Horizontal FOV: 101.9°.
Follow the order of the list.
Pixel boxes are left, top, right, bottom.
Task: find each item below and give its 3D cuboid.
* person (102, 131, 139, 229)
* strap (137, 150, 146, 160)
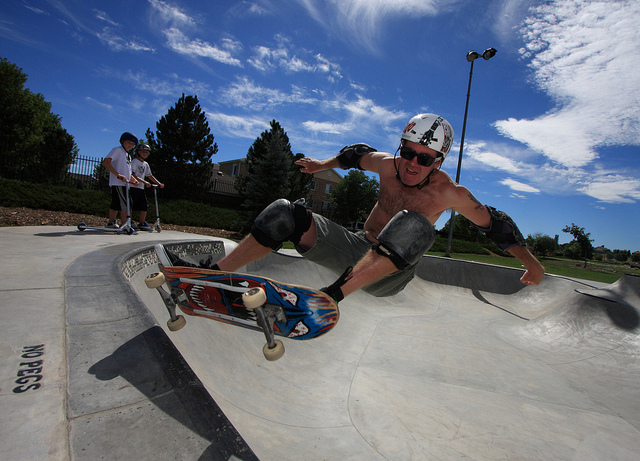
[{"bbox_3d":[-5.105,-1.170,6.552,0.671,2.392,0.716,4,2,-22],"label":"person"},{"bbox_3d":[-5.220,-2.093,7.546,0.201,0.239,0.091,7,-2,22],"label":"strap"}]
